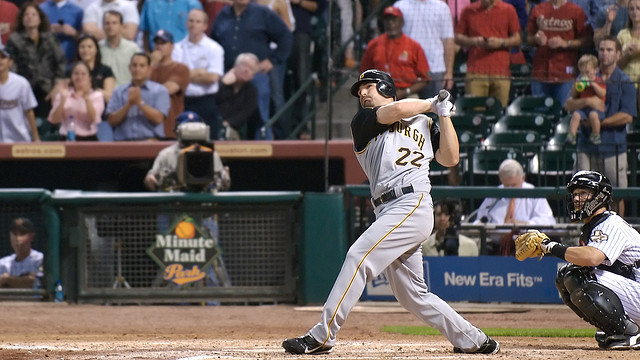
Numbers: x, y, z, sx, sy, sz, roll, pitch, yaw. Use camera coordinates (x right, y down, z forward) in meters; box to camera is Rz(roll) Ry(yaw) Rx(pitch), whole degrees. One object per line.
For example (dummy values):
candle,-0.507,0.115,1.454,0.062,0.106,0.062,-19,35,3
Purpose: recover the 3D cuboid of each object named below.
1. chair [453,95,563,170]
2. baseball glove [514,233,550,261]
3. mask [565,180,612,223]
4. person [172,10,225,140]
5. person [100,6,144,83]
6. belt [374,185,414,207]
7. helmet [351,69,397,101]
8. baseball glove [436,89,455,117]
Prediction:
chair,2.820,-0.791,23.376,1.341,1.638,1.302,0,-2,10
baseball glove,2.704,0.868,19.643,0.309,0.187,0.426,-7,-8,37
mask,3.564,0.258,19.807,0.478,0.495,0.576,-5,-11,-18
person,-1.824,-1.599,22.764,0.777,1.742,0.665,0,1,-16
person,-3.033,-1.937,22.821,0.458,1.294,0.410,-1,0,6
belt,0.908,0.170,19.311,0.311,0.091,0.280,-23,5,11
helmet,0.680,-1.287,19.621,0.557,0.270,0.374,9,-8,0
baseball glove,1.625,-0.971,19.328,0.237,0.317,0.131,16,1,30
